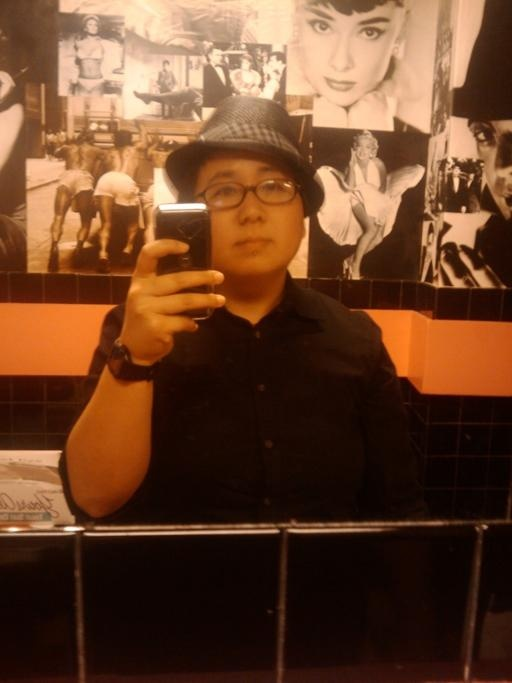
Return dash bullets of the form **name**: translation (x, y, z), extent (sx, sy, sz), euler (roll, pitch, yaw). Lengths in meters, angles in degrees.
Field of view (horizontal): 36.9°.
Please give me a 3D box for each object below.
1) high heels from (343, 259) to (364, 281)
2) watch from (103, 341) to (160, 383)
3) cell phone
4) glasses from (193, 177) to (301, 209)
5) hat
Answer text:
- **high heels**: translation (0.330, -0.234, 2.576), extent (0.038, 0.095, 0.039), euler (-5, 10, -8)
- **watch**: translation (-0.177, 0.032, 1.113), extent (0.053, 0.038, 0.066), euler (2, 7, -20)
- **cell phone**: translation (-0.106, -0.092, 1.053), extent (0.101, 0.191, 0.022), euler (2, 0, -38)
- **glasses**: translation (-0.013, -0.218, 1.160), extent (0.152, 0.056, 0.048), euler (4, 9, -3)
- **hat**: translation (-0.017, -0.311, 1.244), extent (0.213, 0.127, 0.260), euler (0, -12, -6)
